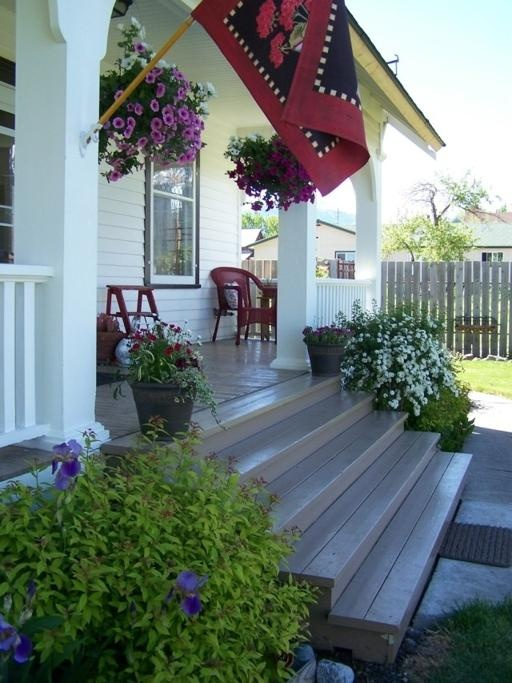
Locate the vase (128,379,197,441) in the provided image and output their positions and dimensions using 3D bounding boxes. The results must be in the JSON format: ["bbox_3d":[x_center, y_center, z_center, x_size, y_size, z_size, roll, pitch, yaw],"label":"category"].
[{"bbox_3d":[-0.432,0.293,2.338,0.278,0.206,0.284,1,-1,27],"label":"vase"}]

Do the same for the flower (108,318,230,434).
[{"bbox_3d":[-0.433,0.246,2.410,0.454,0.490,0.475,8,-25,-16],"label":"flower"}]

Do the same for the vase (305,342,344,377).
[{"bbox_3d":[0.604,0.159,4.432,0.297,0.220,0.294,1,0,-1],"label":"vase"}]

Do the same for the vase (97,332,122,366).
[{"bbox_3d":[-1.295,0.051,4.460,0.302,0.272,0.340,1,-1,-3],"label":"vase"}]

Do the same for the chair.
[{"bbox_3d":[-0.178,-0.523,7.004,0.852,1.069,0.826,-3,4,-31],"label":"chair"}]

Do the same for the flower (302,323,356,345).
[{"bbox_3d":[0.643,-0.060,4.596,0.438,0.171,0.368,1,6,9],"label":"flower"}]
